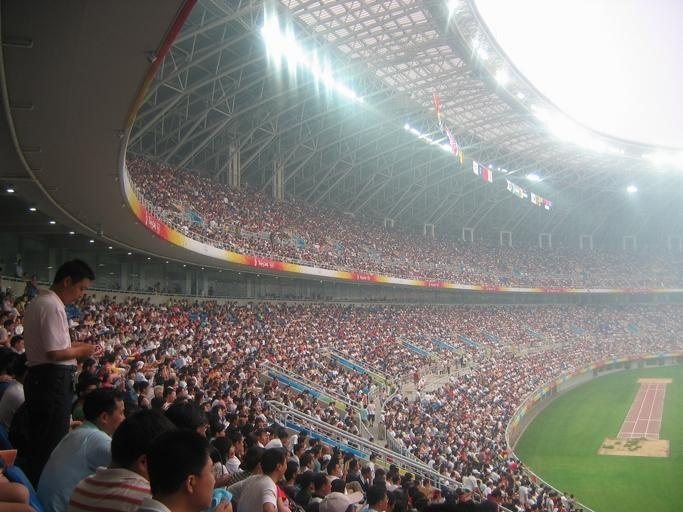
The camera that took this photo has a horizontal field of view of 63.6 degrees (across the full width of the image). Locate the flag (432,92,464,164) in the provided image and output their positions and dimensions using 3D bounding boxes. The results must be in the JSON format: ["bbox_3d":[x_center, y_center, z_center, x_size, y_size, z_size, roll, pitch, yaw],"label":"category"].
[{"bbox_3d":[9.296,-11.443,48.242,0.316,1.655,5.368,-13,-49,13],"label":"flag"}]
